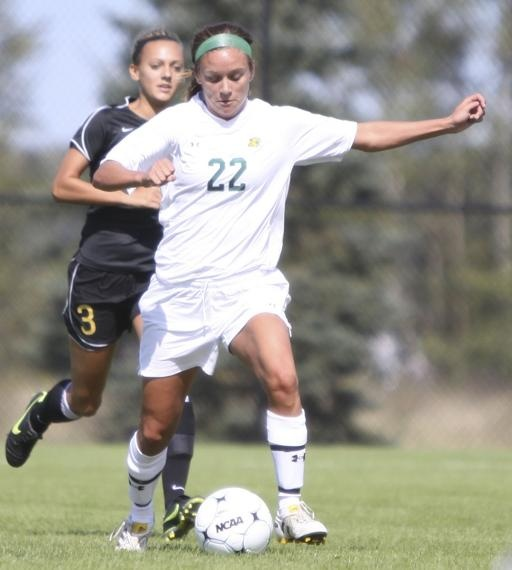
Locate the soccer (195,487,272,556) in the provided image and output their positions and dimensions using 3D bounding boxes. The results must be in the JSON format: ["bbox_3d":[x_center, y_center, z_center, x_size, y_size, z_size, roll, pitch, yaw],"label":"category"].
[{"bbox_3d":[-0.094,0.980,4.680,0.283,0.238,0.265,-18,-4,-10],"label":"soccer"}]

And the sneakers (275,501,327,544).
[{"bbox_3d":[0.183,0.977,4.573,0.133,0.162,0.350,6,-13,-28],"label":"sneakers"}]

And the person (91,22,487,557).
[{"bbox_3d":[-0.082,0.038,4.677,1.223,2.258,0.646,5,6,3],"label":"person"}]
